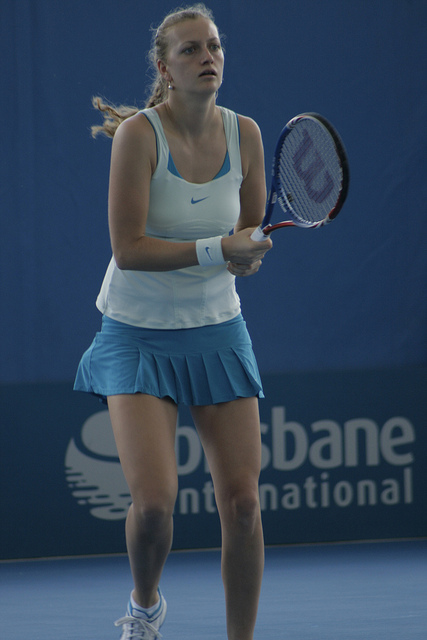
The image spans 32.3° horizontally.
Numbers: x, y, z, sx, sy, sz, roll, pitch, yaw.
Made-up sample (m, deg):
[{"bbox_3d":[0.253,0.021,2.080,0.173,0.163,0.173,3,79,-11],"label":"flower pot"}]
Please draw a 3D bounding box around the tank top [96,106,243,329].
[{"bbox_3d":[-0.095,-0.238,1.687,0.347,0.517,0.244,-1,2,-9],"label":"tank top"}]

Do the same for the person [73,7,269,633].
[{"bbox_3d":[-0.098,0.120,1.801,0.470,1.587,0.563,-1,2,-13],"label":"person"}]

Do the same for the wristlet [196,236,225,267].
[{"bbox_3d":[-0.008,-0.144,1.556,0.046,0.057,0.059,-11,-34,2],"label":"wristlet"}]

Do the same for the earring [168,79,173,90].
[{"bbox_3d":[-0.097,-0.525,1.639,0.008,0.020,0.012,-1,11,-7],"label":"earring"}]
